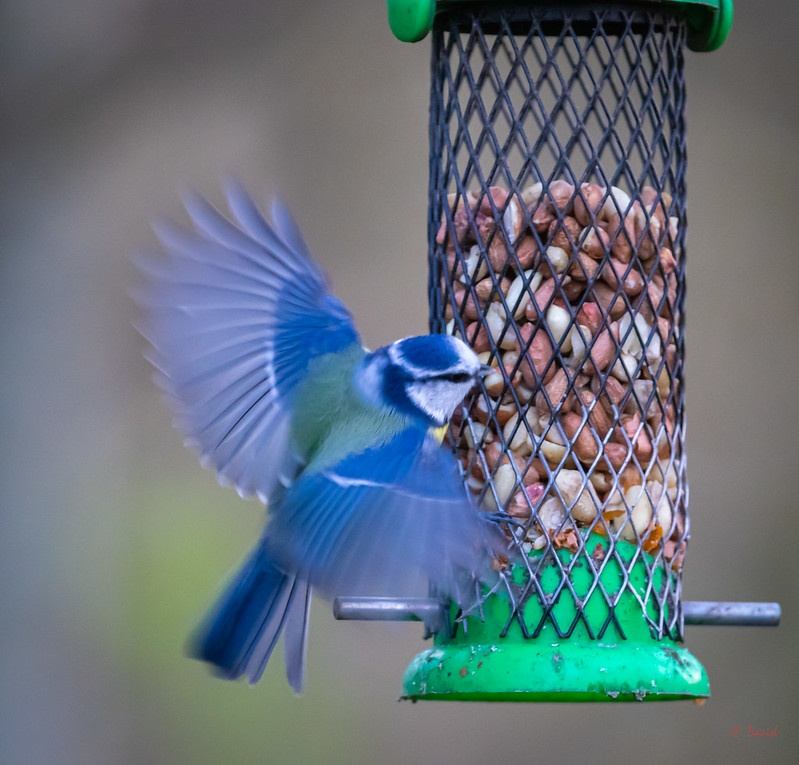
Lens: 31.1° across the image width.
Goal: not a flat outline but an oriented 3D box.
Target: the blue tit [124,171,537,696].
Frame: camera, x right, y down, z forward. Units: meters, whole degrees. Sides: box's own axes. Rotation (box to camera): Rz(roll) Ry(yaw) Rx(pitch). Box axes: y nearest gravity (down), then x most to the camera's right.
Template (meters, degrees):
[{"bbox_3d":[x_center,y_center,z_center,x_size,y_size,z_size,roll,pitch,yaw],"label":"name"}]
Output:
[{"bbox_3d":[-0.148,0.165,2.379,0.498,0.502,0.988,-18,46,-25],"label":"blue tit"}]
